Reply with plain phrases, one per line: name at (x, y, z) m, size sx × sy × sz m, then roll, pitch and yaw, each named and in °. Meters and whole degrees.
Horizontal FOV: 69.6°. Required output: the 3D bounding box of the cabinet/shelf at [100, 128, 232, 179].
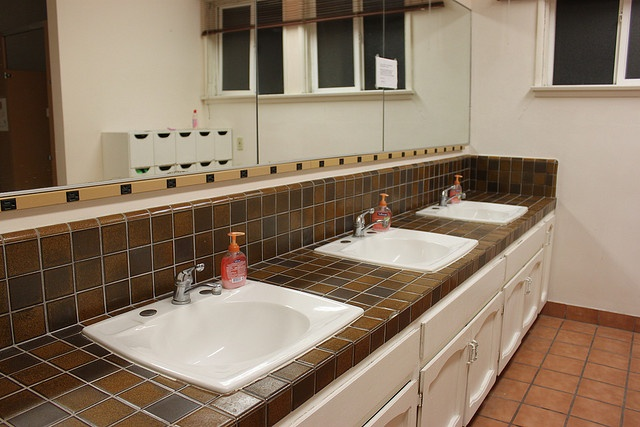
cabinet/shelf at (-0.588, -0.237, 1.834) m, size 0.142 × 0.194 × 0.577 m, roll 8°, pitch 13°, yaw 24°

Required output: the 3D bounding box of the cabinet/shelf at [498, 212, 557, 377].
cabinet/shelf at (1.369, 0.543, 3.046) m, size 0.452 × 0.593 × 0.906 m, roll 5°, pitch 20°, yaw 28°

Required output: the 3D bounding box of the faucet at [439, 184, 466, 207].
faucet at (0.946, -0.136, 3.267) m, size 0.122 × 0.128 × 0.226 m, roll 9°, pitch 14°, yaw 39°

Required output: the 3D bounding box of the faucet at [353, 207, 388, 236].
faucet at (0.290, 0.053, 2.525) m, size 0.228 × 0.154 × 0.122 m, roll -7°, pitch -5°, yaw 18°
